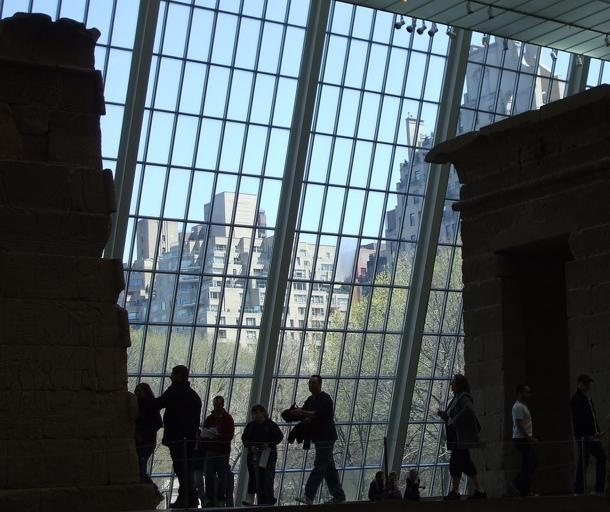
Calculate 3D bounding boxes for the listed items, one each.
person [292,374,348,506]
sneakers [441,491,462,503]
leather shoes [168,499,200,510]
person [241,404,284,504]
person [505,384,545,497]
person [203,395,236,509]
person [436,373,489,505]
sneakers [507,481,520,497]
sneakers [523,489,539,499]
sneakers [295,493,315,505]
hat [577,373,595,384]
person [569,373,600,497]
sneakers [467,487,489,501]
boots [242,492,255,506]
[{"bbox_3d":[0.208,2.617,11.958,0.778,1.793,1.285,3,-11,0],"label":"person"},{"bbox_3d":[2.111,3.440,11.812,0.218,0.116,0.124,7,-15,-12],"label":"sneakers"},{"bbox_3d":[-1.580,3.193,10.674,0.485,0.159,0.137,-7,-15,40],"label":"leather shoes"},{"bbox_3d":[-0.606,2.795,11.597,0.562,1.284,1.358,3,-11,-4],"label":"person"},{"bbox_3d":[3.188,2.653,11.976,0.324,1.549,1.701,0,-12,14],"label":"person"},{"bbox_3d":[-1.268,2.749,11.935,0.455,1.484,2.543,4,-12,-6],"label":"person"},{"bbox_3d":[2.295,2.634,12.085,0.687,1.777,0.458,0,-10,15],"label":"person"},{"bbox_3d":[2.881,3.205,11.393,0.176,0.214,0.099,-3,-12,29],"label":"sneakers"},{"bbox_3d":[3.094,3.257,11.219,0.049,0.070,0.152,4,-1,-26],"label":"sneakers"},{"bbox_3d":[-0.006,3.346,11.271,0.264,0.135,0.099,20,-28,-17],"label":"sneakers"},{"bbox_3d":[4.132,1.826,12.124,0.189,0.134,0.161,-18,-2,17],"label":"hat"},{"bbox_3d":[4.028,2.505,11.730,0.440,1.659,1.125,-1,-11,18],"label":"person"},{"bbox_3d":[2.502,3.436,11.893,0.121,0.181,0.244,7,-8,-41],"label":"sneakers"},{"bbox_3d":[-0.761,3.242,11.024,0.121,0.281,0.141,-3,-10,18],"label":"boots"}]
